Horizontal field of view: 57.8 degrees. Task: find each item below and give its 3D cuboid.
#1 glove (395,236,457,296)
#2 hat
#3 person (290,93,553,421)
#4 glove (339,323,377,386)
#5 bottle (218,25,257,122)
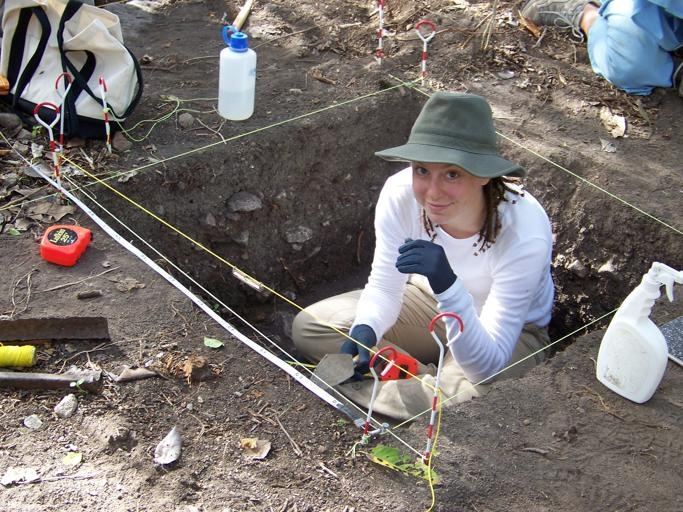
[{"bbox_3d":[0.349,0.044,2.561,0.180,0.240,0.168,-45,41,-6],"label":"glove"},{"bbox_3d":[0.434,-0.509,2.552,0.718,0.322,0.584,10,22,10],"label":"hat"},{"bbox_3d":[0.377,0.014,3.008,1.227,1.241,1.143,-25,48,-24],"label":"person"},{"bbox_3d":[0.088,0.438,2.870,0.099,0.253,0.191,8,41,-38],"label":"glove"},{"bbox_3d":[-0.606,-1.057,3.629,0.227,0.655,0.274,3,45,-10],"label":"bottle"}]
